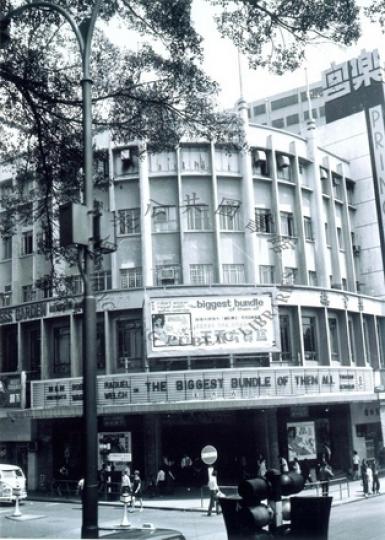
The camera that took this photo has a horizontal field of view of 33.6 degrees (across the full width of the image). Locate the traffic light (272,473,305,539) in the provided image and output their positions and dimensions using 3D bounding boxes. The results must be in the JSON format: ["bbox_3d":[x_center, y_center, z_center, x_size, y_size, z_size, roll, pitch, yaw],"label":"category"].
[{"bbox_3d":[1.657,4.133,11.407,0.377,1.026,0.939,-10,-14,29],"label":"traffic light"}]

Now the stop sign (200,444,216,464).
[{"bbox_3d":[0.579,6.579,22.575,0.447,0.586,1.268,-4,-12,3],"label":"stop sign"}]

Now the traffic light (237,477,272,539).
[{"bbox_3d":[1.105,4.154,11.155,0.554,0.913,0.477,6,-15,-35],"label":"traffic light"}]
